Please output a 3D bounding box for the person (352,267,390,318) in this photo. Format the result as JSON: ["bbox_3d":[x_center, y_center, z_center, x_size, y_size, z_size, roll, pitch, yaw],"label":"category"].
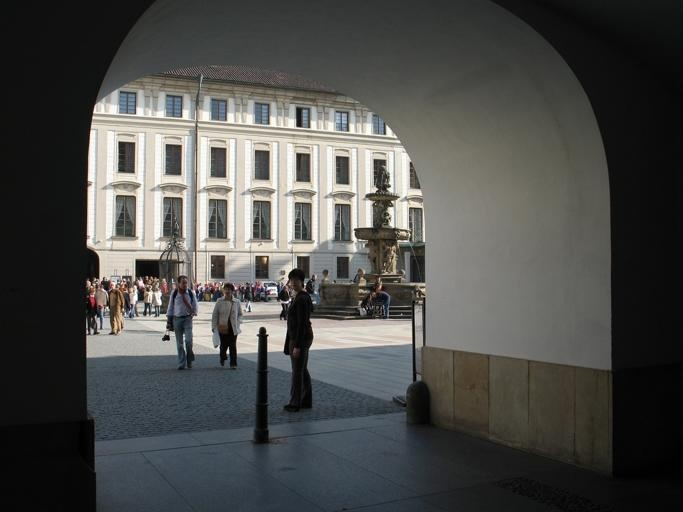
[{"bbox_3d":[1.285,1.475,28.991,0.805,1.058,1.561,2,17,0],"label":"person"}]

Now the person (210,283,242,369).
[{"bbox_3d":[-2.229,1.334,15.309,0.542,1.626,1.172,0,-1,-8],"label":"person"}]

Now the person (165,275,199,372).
[{"bbox_3d":[-3.059,1.265,15.062,0.527,1.756,1.099,0,-1,-13],"label":"person"}]

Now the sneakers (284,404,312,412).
[{"bbox_3d":[-0.639,2.073,10.615,0.201,0.059,0.161,-1,-2,22],"label":"sneakers"}]

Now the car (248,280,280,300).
[{"bbox_3d":[-4.997,2.280,50.821,2.114,0.828,0.962,-8,7,-42],"label":"car"}]

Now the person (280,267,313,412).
[{"bbox_3d":[-0.604,1.147,11.023,0.392,1.903,0.946,0,-1,-2],"label":"person"}]
